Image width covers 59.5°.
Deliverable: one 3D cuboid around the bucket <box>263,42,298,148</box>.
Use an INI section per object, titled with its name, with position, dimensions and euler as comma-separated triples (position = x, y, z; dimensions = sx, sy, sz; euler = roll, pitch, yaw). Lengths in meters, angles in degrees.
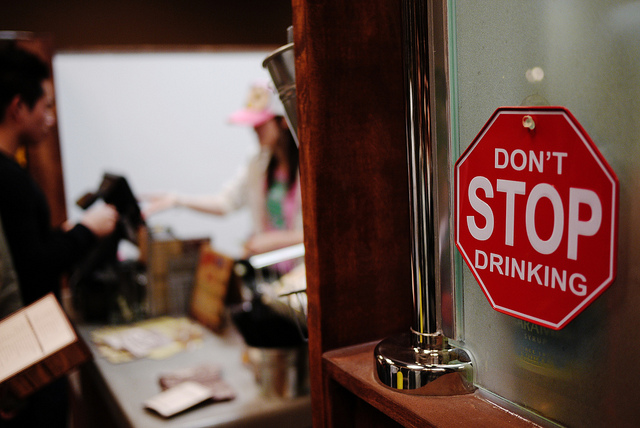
[bucket]
position = -0.063, -0.221, 1.028
dimensions = 0.052, 0.176, 0.165
euler = -10, 15, -12
